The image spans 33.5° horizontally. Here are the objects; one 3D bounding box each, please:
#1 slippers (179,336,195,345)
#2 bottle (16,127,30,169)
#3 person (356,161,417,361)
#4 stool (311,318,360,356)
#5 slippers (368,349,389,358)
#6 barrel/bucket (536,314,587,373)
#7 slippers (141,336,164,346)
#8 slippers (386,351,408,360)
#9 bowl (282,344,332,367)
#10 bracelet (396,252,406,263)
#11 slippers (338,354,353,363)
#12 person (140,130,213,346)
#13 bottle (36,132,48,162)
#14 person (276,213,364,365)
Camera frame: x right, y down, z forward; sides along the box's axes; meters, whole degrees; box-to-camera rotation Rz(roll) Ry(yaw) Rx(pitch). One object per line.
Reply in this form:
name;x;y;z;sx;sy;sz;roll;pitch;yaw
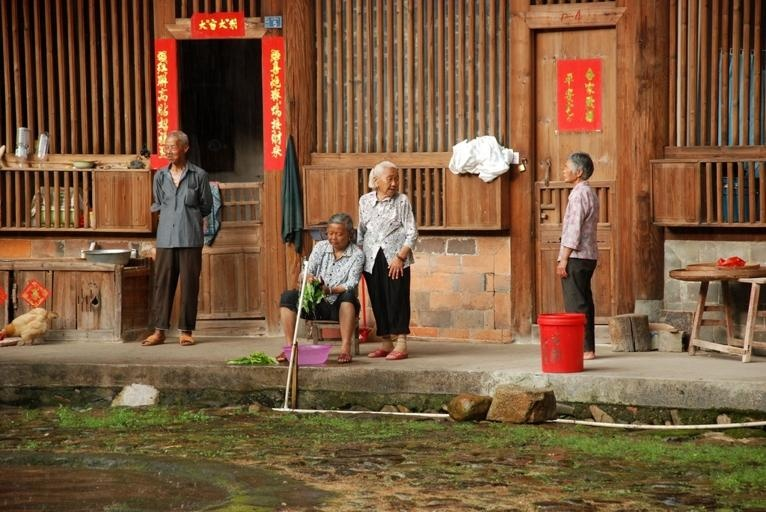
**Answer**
slippers;-2.241;0.950;14.564;0.170;0.114;0.287;0;-1;-9
bottle;-4.359;-1.337;15.433;0.185;0.463;0.202;0;-1;0
person;0.033;0.036;13.537;0.615;2.069;0.392;0;-1;-2
stool;-0.445;0.855;13.920;0.614;0.373;0.617;0;0;0
slippers;-0.052;1.035;13.592;0.241;0.072;0.086;3;-3;-34
barrel/bucket;1.775;0.862;12.722;0.539;0.565;0.538;-1;-3;0
slippers;-2.627;0.957;14.608;0.098;0.090;0.247;-4;-7;26
slippers;0.145;1.039;13.422;0.245;0.094;0.218;0;-1;-5
bowl;-0.794;1.014;13.203;0.494;0.213;0.425;0;-1;-2
bracelet;0.188;0.007;13.410;0.026;0.083;0.088;-20;-11;38
slippers;-0.406;1.055;13.310;0.150;0.106;0.273;0;-1;-3
person;-2.359;-0.209;14.639;0.760;2.441;0.541;0;-1;-6
bottle;-4.119;-1.341;15.457;0.133;0.345;0.112;1;-2;-21
person;-0.531;0.326;13.408;0.642;1.564;0.447;0;-1;-1
